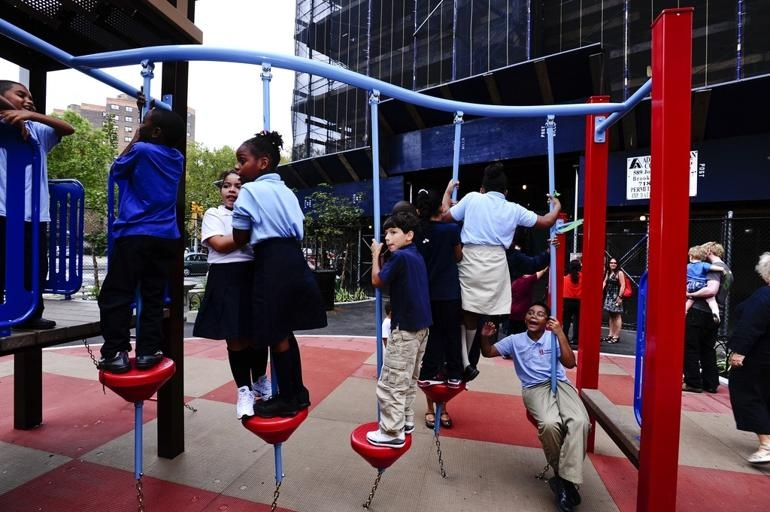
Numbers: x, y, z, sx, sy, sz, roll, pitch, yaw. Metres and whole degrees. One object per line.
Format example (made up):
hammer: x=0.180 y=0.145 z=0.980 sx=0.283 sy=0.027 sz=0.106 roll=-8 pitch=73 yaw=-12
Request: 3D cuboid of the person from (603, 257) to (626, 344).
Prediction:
person: x=5.025 y=0.938 z=12.154 sx=0.461 sy=1.768 sz=0.827 roll=2 pitch=5 yaw=22

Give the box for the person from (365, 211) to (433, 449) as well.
person: x=0.159 y=0.730 z=6.055 sx=0.524 sy=2.464 sz=0.879 roll=2 pitch=5 yaw=28

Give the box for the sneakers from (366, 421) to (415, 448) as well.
sneakers: x=0.057 y=1.891 z=5.930 sx=0.469 sy=0.212 sz=0.187 roll=9 pitch=-7 yaw=1

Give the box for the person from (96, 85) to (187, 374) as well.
person: x=-2.536 y=-0.267 z=5.781 sx=0.902 sy=2.820 sz=0.512 roll=-3 pitch=5 yaw=-28

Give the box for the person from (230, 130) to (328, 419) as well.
person: x=-1.098 y=0.152 z=5.745 sx=0.920 sy=2.874 sz=0.547 roll=-1 pitch=5 yaw=-9

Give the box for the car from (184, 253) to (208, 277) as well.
car: x=-8.687 y=0.420 z=25.506 sx=0.995 sy=0.946 sz=1.869 roll=0 pitch=4 yaw=-7

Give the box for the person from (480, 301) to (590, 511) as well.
person: x=1.857 y=1.667 z=6.462 sx=0.575 sy=2.188 sz=1.115 roll=-4 pitch=6 yaw=-36

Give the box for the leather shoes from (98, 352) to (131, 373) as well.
leather shoes: x=-2.697 y=1.066 z=5.587 sx=0.329 sy=0.140 sz=0.162 roll=3 pitch=0 yaw=15

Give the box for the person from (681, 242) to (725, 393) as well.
person: x=5.079 y=0.962 z=9.067 sx=0.697 sy=2.472 sz=0.929 roll=6 pitch=-5 yaw=42

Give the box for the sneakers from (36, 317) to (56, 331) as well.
sneakers: x=-3.557 y=0.710 z=5.829 sx=0.218 sy=0.092 sz=0.079 roll=-1 pitch=3 yaw=-3
